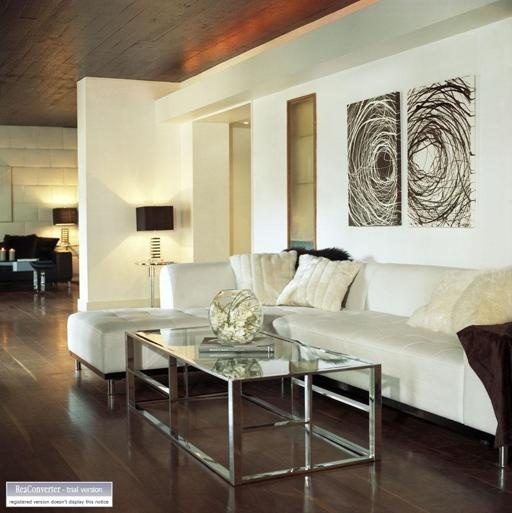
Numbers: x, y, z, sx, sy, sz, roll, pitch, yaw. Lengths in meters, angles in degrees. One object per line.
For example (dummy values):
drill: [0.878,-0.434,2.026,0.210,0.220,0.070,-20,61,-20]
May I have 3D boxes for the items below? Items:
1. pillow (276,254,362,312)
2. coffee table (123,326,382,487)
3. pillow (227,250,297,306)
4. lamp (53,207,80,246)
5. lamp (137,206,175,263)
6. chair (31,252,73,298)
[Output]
pillow: [0.501,0.211,3.898,0.153,0.427,0.527,38,-17,-34]
coffee table: [-0.077,0.801,2.581,0.736,0.386,1.431,8,-14,-26]
pillow: [0.085,0.189,4.314,0.557,0.417,0.146,6,0,-10]
lamp: [-3.977,-0.604,10.519,0.520,0.665,0.497,-6,-6,30]
lamp: [-1.454,-0.299,7.233,0.478,0.816,0.493,1,-2,-22]
chair: [-3.898,0.293,9.456,0.879,0.700,0.846,0,0,-42]
